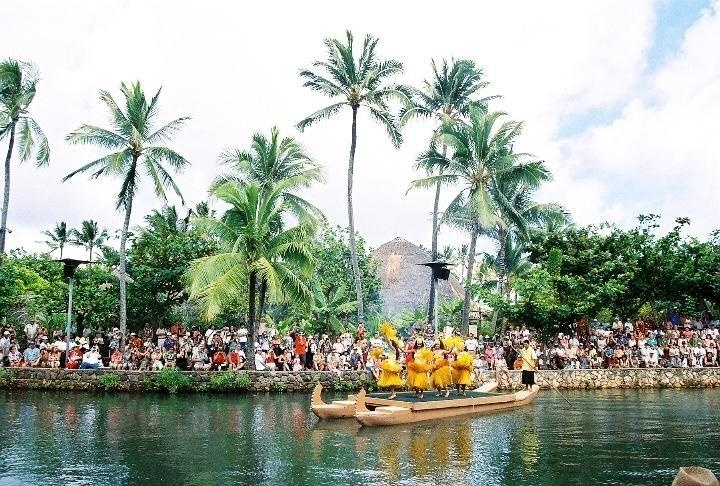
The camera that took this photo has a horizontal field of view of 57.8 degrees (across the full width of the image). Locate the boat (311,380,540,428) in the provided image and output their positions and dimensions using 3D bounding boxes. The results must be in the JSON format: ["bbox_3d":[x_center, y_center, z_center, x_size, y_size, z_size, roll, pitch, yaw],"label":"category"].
[{"bbox_3d":[1.996,4.331,17.057,4.525,0.627,2.125,9,-13,-36],"label":"boat"}]
